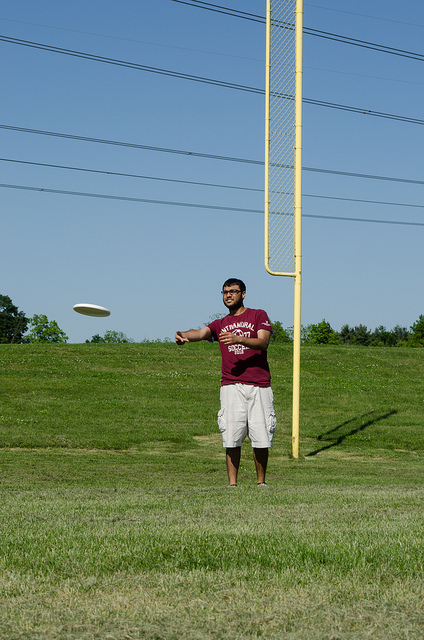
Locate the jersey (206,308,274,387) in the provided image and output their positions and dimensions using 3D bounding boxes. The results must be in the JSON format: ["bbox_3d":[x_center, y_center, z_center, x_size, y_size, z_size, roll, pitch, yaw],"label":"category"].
[{"bbox_3d":[0.203,0.234,9.383,0.565,0.673,0.514,4,4,18],"label":"jersey"}]

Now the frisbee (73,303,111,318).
[{"bbox_3d":[-1.162,-0.084,10.622,0.272,0.126,0.519,4,4,13],"label":"frisbee"}]
